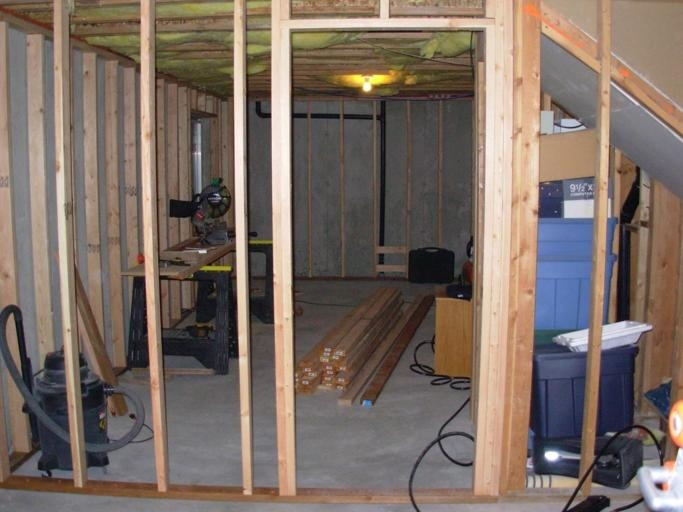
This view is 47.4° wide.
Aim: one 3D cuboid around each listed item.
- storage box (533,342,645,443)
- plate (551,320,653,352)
[{"bbox_3d":[1.677,0.987,5.759,0.803,0.607,0.659,-3,-2,-7],"label":"storage box"},{"bbox_3d":[1.850,0.570,5.509,0.477,0.125,0.278,-16,4,-11],"label":"plate"}]
